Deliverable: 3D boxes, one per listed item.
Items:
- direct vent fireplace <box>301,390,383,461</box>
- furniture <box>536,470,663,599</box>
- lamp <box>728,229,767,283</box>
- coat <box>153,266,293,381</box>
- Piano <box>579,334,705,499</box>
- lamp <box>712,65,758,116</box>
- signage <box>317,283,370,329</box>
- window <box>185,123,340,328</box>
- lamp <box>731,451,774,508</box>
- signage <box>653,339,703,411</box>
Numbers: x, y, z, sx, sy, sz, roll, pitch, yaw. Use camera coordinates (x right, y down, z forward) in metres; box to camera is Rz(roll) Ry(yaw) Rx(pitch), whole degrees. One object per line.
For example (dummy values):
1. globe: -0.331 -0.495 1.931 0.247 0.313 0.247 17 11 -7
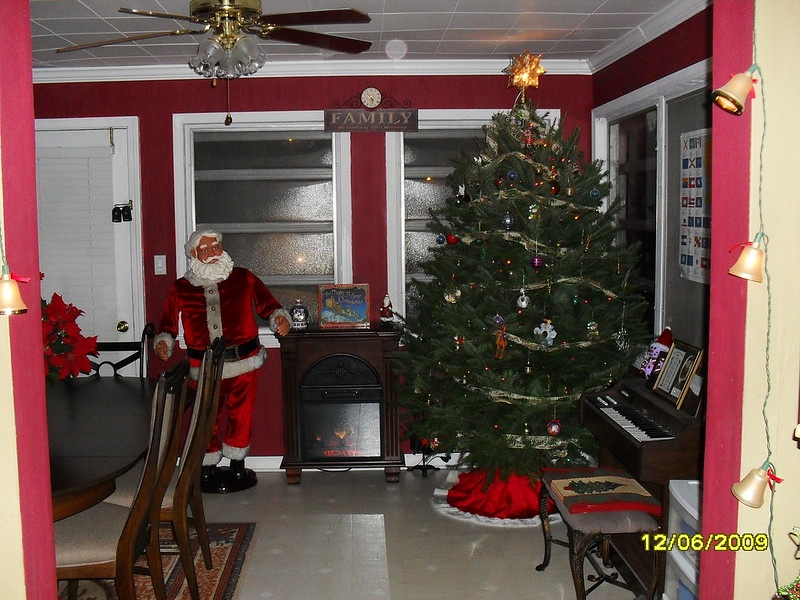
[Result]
1. direct vent fireplace: -0.427 0.940 4.845 0.535 0.469 0.199 0 0 -1
2. furniture: 0.990 1.066 3.436 0.563 0.710 0.973 0 3 0
3. lamp: 1.157 -0.134 2.095 0.093 0.174 0.299 5 9 31
4. coat: -1.346 0.153 4.771 1.042 0.795 0.417 -8 14 -7
5. Piano: 1.367 0.699 3.476 0.462 0.868 0.875 -11 7 -2
6. lamp: 1.061 -0.671 2.008 0.118 0.160 0.144 4 9 28
7. signage: -0.429 0.051 4.894 0.325 0.287 0.045 0 -5 1
8. window: -1.115 -0.655 5.050 1.588 2.269 0.094 -1 3 -2
9. lamp: 1.148 0.594 2.046 0.167 0.136 0.083 -5 10 -34
10. signage: 1.459 0.404 3.318 0.023 0.334 0.332 22 7 -6
